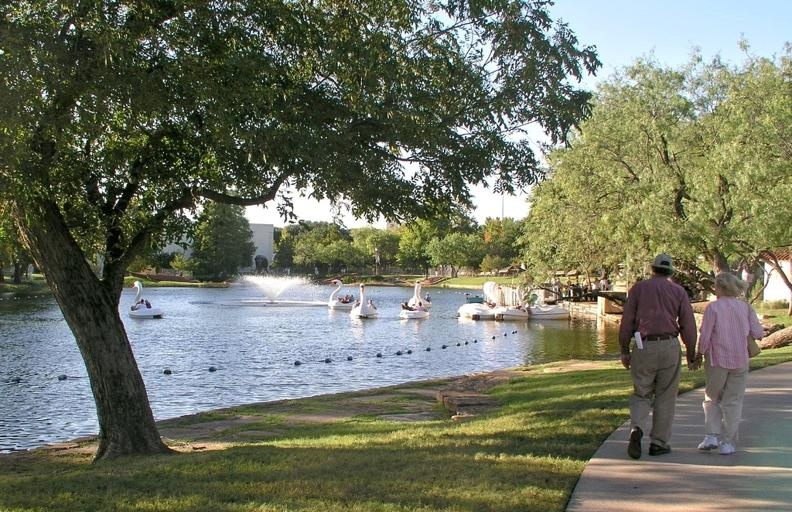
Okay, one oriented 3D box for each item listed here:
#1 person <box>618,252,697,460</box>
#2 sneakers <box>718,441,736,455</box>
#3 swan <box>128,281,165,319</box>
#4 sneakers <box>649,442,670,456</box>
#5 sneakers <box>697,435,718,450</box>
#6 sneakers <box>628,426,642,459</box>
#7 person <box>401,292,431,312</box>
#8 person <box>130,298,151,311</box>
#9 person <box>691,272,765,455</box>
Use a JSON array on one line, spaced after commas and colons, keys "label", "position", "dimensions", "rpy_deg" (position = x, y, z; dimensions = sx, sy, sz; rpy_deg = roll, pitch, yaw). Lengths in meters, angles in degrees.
[{"label": "person", "position": [5.376, 2.011, 19.199], "dimensions": [1.497, 4.173, 0.451], "rpy_deg": [1, -2, -8]}, {"label": "sneakers", "position": [6.831, 3.905, 19.178], "dimensions": [0.366, 0.255, 0.256], "rpy_deg": [0, -2, 9]}, {"label": "swan", "position": [-16.296, 2.911, 59.938], "dimensions": [1.058, 1.910, 3.130], "rpy_deg": [1, -8, 19]}, {"label": "sneakers", "position": [5.401, 3.933, 19.100], "dimensions": [0.479, 0.206, 0.201], "rpy_deg": [-7, 9, -32]}, {"label": "sneakers", "position": [6.499, 3.835, 19.290], "dimensions": [0.515, 0.241, 0.218], "rpy_deg": [2, -3, -35]}, {"label": "sneakers", "position": [4.873, 3.778, 19.040], "dimensions": [0.275, 0.631, 0.302], "rpy_deg": [-2, -6, 17]}, {"label": "person", "position": [1.334, 3.460, 66.917], "dimensions": [0.937, 1.185, 2.938], "rpy_deg": [3, 8, 20]}, {"label": "person", "position": [-17.464, 3.243, 63.338], "dimensions": [0.653, 0.927, 1.811], "rpy_deg": [2, -8, -23]}, {"label": "person", "position": [6.895, 2.185, 19.389], "dimensions": [1.188, 3.710, 0.579], "rpy_deg": [0, -2, 8]}]
